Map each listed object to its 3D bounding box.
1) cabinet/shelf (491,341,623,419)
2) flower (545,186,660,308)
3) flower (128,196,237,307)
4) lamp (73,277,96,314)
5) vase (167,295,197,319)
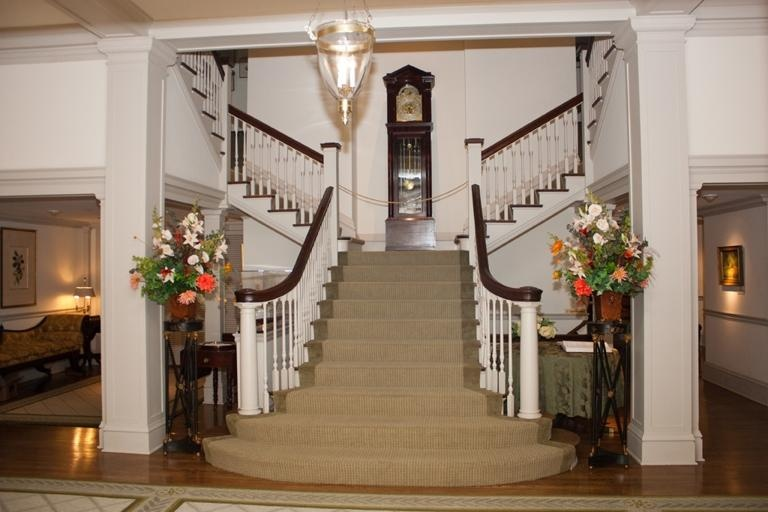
[{"bbox_3d":[2.052,1.466,8.324,0.978,0.658,0.999,1,-6,-3],"label":"cabinet/shelf"},{"bbox_3d":[2.482,0.248,7.552,0.934,1.154,0.938,-2,-23,22],"label":"flower"},{"bbox_3d":[-2.311,-0.013,8.061,1.326,1.570,1.127,2,3,15],"label":"flower"},{"bbox_3d":[-5.772,0.781,12.707,0.381,0.684,0.602,-4,9,-26],"label":"lamp"},{"bbox_3d":[-2.382,0.595,7.763,0.283,0.224,0.290,-1,-2,17],"label":"vase"}]
